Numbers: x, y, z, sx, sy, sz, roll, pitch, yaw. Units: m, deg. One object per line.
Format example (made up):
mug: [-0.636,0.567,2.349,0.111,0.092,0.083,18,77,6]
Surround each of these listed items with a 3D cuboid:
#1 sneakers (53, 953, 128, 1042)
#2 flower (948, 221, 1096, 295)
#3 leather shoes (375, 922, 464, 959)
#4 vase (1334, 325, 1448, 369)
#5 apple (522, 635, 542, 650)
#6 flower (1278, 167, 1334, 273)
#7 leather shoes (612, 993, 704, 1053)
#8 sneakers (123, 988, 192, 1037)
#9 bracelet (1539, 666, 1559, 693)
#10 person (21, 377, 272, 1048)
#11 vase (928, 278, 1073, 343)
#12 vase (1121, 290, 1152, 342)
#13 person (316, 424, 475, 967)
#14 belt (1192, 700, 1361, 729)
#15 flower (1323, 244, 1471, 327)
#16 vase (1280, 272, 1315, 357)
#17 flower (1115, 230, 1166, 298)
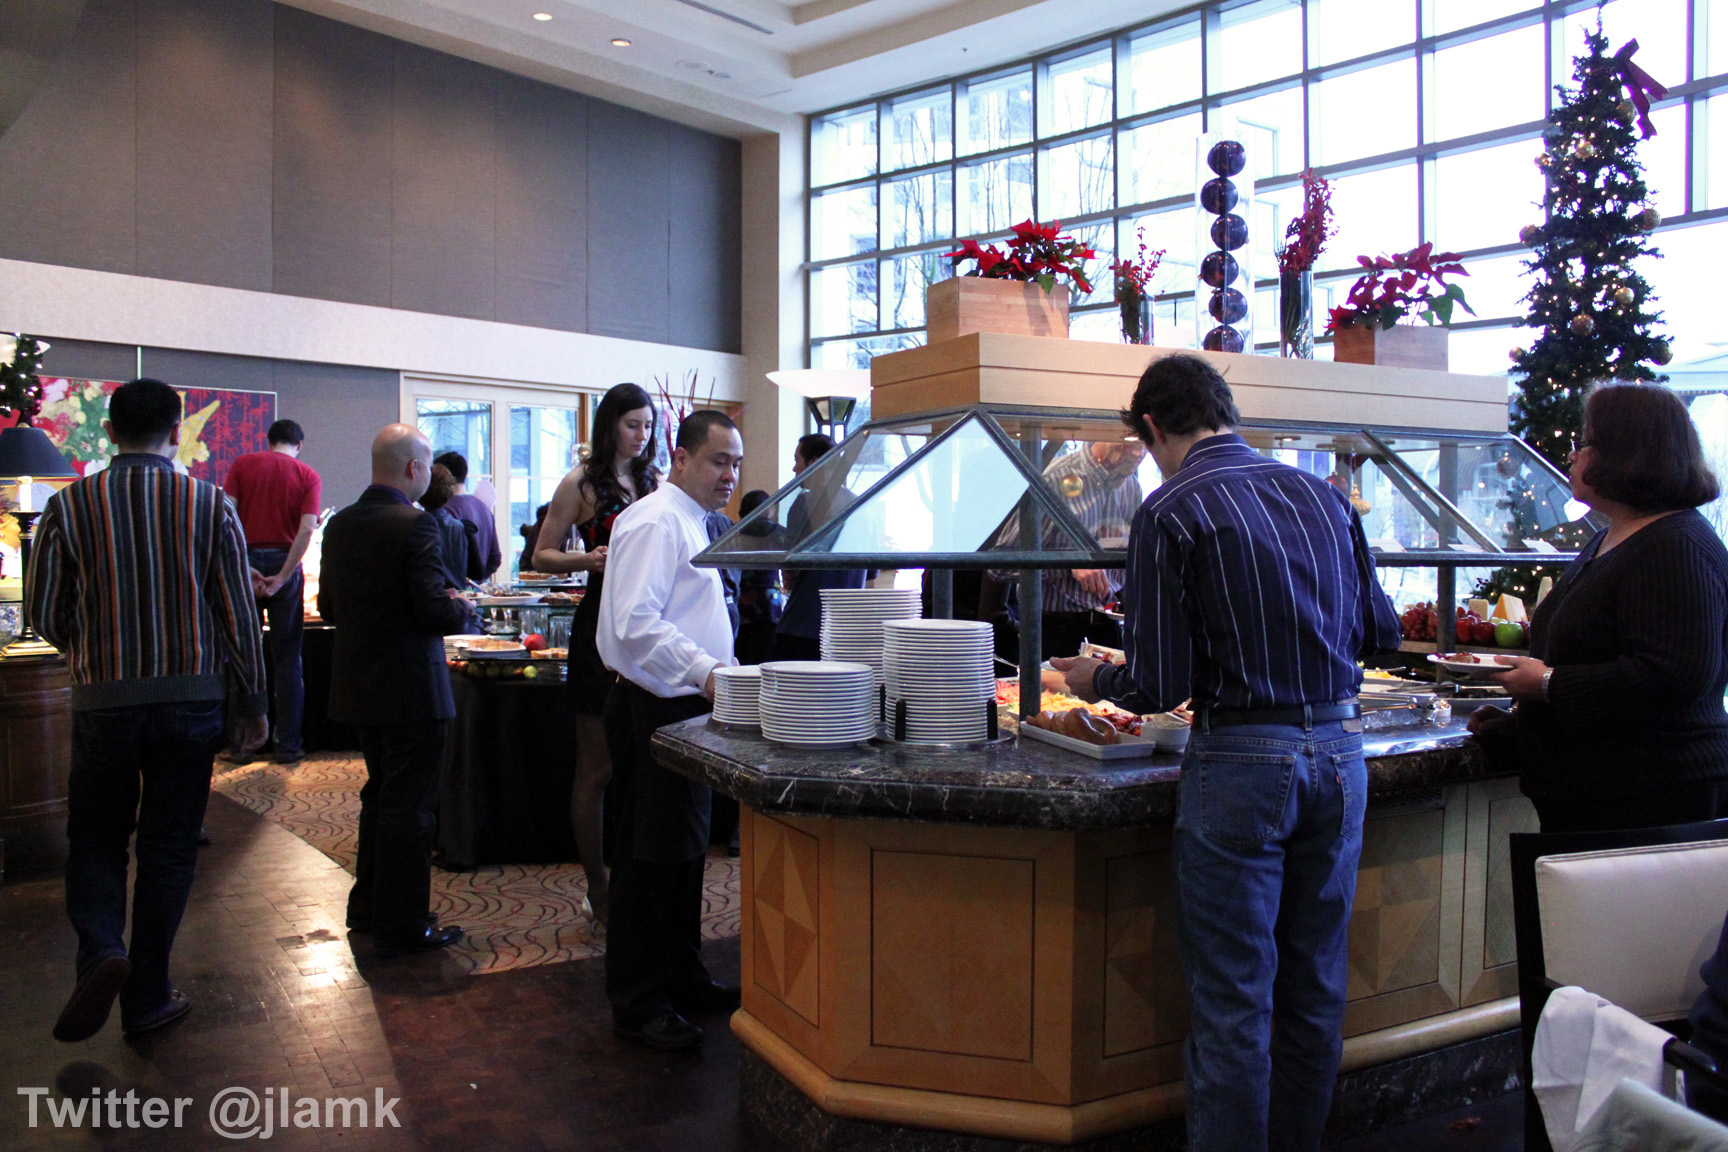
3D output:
sneakers: [-2.703,1.494,4.588,0.121,0.326,0.139,34,4,-30]
flower: [0.622,-1.137,4.676,0.544,0.220,0.494,18,13,8]
leather shoes: [-1.822,1.478,5.435,0.363,0.154,0.120,-2,6,-33]
vase: [2.097,-0.912,5.207,0.345,0.147,0.223,0,-1,-26]
apple: [-1.676,0.339,6.624,0.078,0.076,0.077,4,-7,-35]
flower: [1.778,-1.419,5.254,0.203,0.408,0.324,2,10,18]
leather shoes: [-0.717,1.600,4.682,0.338,0.155,0.138,0,-1,30]
sneakers: [-2.574,1.596,4.774,0.081,0.088,0.210,4,7,24]
bracelet: [2.029,0.309,3.880,0.053,0.051,0.055,-3,-8,40]
person: [-2.586,0.479,4.754,0.755,2.341,0.783,-6,10,-27]
vase: [0.472,-0.935,4.568,0.500,0.219,0.316,-1,9,3]
vase: [1.030,-0.977,4.955,0.114,0.176,0.067,0,9,10]
person: [-1.923,0.463,5.414,0.504,2.124,0.505,-7,11,-33]
belt: [1.155,0.389,3.645,0.175,0.050,0.173,-2,-1,-16]
flower: [2.144,-1.146,5.287,0.471,0.227,0.421,-2,3,10]
vase: [1.712,-1.053,5.187,0.123,0.351,0.214,1,9,15]
flower: [1.035,-1.154,4.953,0.156,0.203,0.107,-4,10,-18]
